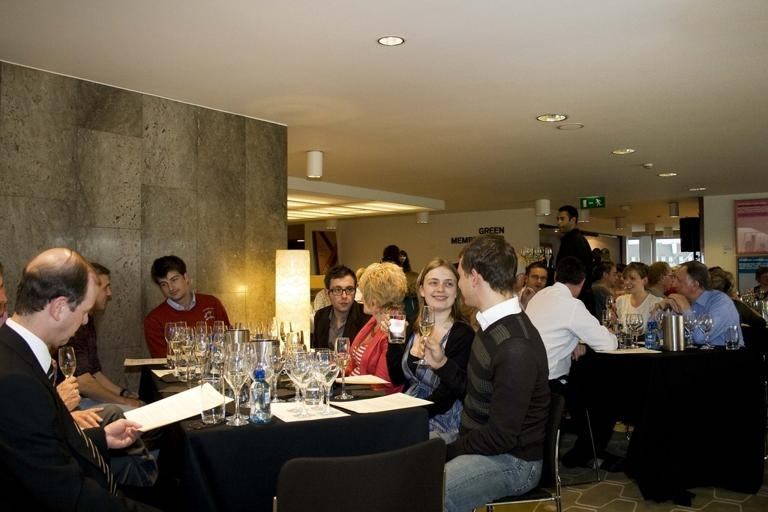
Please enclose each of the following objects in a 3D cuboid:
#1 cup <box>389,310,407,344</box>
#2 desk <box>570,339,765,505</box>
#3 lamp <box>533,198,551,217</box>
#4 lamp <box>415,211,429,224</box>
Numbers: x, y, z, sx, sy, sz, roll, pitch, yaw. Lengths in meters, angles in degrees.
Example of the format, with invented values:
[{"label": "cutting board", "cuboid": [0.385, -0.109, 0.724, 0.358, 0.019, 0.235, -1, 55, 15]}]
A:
[{"label": "cup", "cuboid": [0.082, 0.456, 3.598, 0.102, 0.210, 0.162, -3, 1, -6]}, {"label": "desk", "cuboid": [2.342, 1.327, 4.761, 1.234, 0.942, 1.259, -5, -8, 38]}, {"label": "lamp", "cuboid": [3.448, -1.042, 12.370, 0.357, 0.348, 0.358, 0, 0, -2]}, {"label": "lamp", "cuboid": [0.927, -0.962, 14.030, 0.314, 0.341, 0.316, 1, -7, 4]}]
